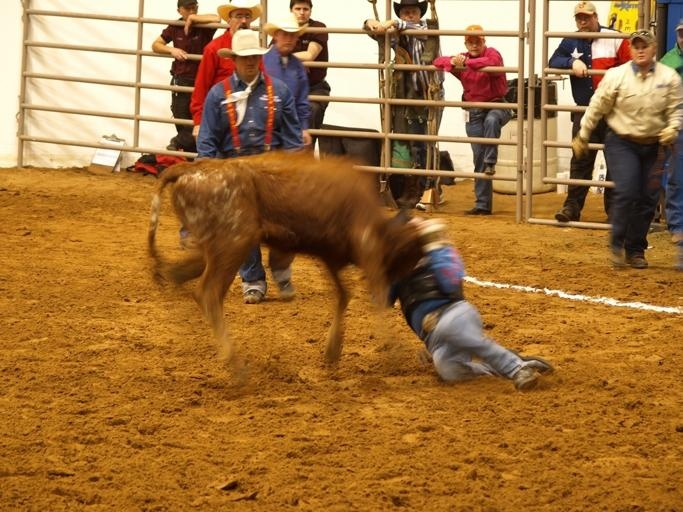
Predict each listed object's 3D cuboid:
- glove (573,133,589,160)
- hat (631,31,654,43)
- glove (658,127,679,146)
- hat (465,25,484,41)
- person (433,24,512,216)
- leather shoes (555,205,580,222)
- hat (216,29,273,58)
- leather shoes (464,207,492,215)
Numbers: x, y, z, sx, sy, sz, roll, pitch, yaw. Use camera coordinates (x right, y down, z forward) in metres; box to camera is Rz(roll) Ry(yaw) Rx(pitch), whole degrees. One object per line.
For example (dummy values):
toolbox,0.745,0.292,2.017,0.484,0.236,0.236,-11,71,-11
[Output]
glove,2.381,-1.090,6.961,0.200,0.146,0.221,18,40,16
hat,2.664,-1.952,6.182,0.137,0.071,0.179,0,-11,37
glove,2.965,-1.078,6.328,0.150,0.151,0.117,4,6,16
hat,1.590,-2.661,8.325,0.248,0.155,0.325,-2,-7,7
person,1.650,-1.686,8.764,0.853,2.331,1.062,5,7,17
leather shoes,2.598,-0.484,8.166,0.141,0.141,0.413,-19,-22,36
hat,-0.705,-1.564,5.073,0.460,0.147,0.446,-3,-1,-10
leather shoes,1.744,-0.575,9.003,0.351,0.103,0.100,4,1,-2
